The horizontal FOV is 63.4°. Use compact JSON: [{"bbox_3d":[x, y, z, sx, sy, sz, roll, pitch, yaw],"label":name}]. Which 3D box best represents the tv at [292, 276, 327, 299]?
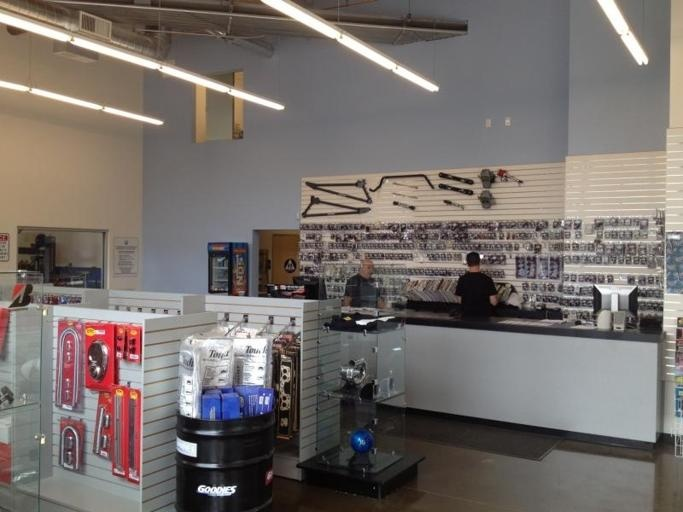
[{"bbox_3d":[-0.362,0.363,6.248,0.272,0.215,0.143,3,5,42],"label":"tv"}]

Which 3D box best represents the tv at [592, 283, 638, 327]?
[{"bbox_3d":[3.380,0.613,6.787,0.466,0.419,0.158,1,-2,25],"label":"tv"}]

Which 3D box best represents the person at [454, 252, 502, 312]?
[{"bbox_3d":[1.908,0.405,7.893,0.566,0.902,0.631,1,4,21],"label":"person"}]
